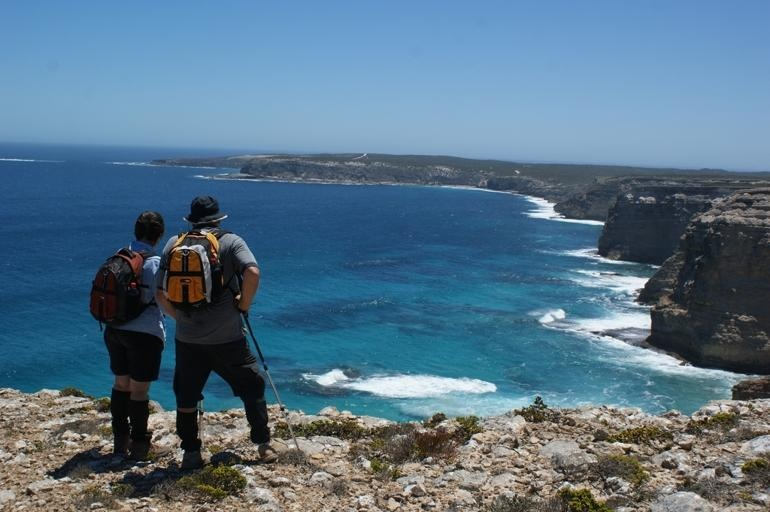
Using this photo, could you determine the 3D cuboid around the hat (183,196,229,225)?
[{"bbox_3d":[-3.417,-0.894,11.672,0.873,0.275,0.712,-1,7,-6],"label":"hat"}]
